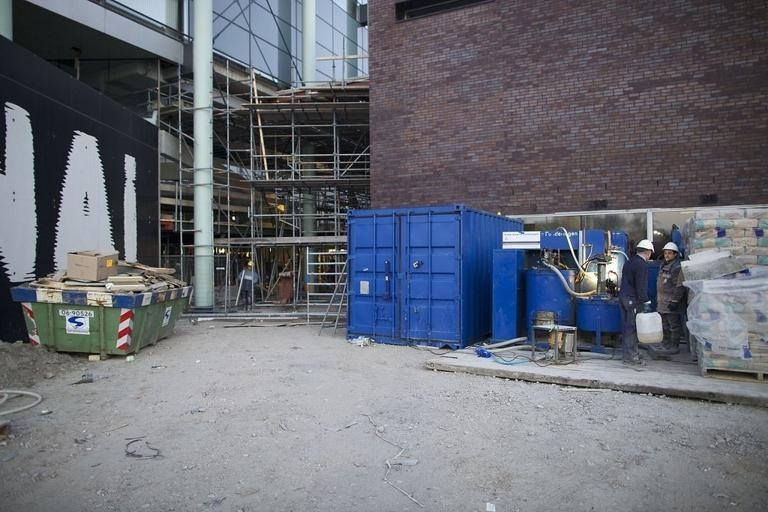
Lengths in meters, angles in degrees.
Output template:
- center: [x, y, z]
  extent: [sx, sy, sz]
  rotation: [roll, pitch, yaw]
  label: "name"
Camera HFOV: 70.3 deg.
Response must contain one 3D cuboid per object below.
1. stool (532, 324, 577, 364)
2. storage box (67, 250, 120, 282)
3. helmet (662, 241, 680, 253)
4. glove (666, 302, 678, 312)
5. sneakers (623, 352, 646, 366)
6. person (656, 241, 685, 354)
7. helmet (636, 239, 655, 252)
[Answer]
- center: [3.836, 2.010, 12.444]
  extent: [0.911, 0.859, 0.920]
  rotation: [-4, -7, 33]
  label: "stool"
- center: [-7.150, 0.266, 13.663]
  extent: [0.870, 0.548, 0.882]
  rotation: [1, -2, 3]
  label: "storage box"
- center: [6.952, -0.208, 13.263]
  extent: [0.303, 0.206, 0.435]
  rotation: [0, -1, 42]
  label: "helmet"
- center: [6.746, 1.206, 12.853]
  extent: [0.208, 0.204, 0.212]
  rotation: [-1, -5, 40]
  label: "glove"
- center: [5.556, 2.306, 12.145]
  extent: [0.421, 0.197, 0.294]
  rotation: [2, -3, -32]
  label: "sneakers"
- center: [6.792, 1.024, 12.991]
  extent: [0.601, 2.651, 0.799]
  rotation: [1, 5, 28]
  label: "person"
- center: [6.043, -0.292, 12.660]
  extent: [0.381, 0.284, 0.550]
  rotation: [5, 6, 39]
  label: "helmet"
